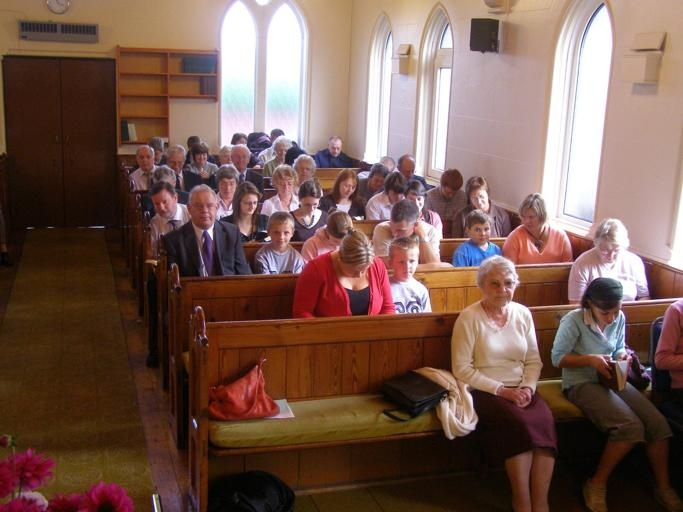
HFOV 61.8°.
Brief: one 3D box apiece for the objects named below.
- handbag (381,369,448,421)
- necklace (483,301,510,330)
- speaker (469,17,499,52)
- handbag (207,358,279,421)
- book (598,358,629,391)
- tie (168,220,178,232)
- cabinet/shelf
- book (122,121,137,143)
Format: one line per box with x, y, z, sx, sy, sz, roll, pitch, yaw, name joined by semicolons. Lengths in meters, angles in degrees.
0.447;0.852;3.506;0.396;0.181;0.313;-1;13;-1;handbag
0.977;0.371;3.592;0.119;0.173;0.086;-3;29;8;necklace
1.733;-2.678;7.113;0.430;0.485;0.346;1;12;-1;speaker
-0.561;0.812;3.266;0.403;0.372;0.237;-5;10;-31;handbag
1.675;0.723;3.580;0.170;0.237;0.183;4;-1;-22;book
-1.626;-0.292;5.454;0.093;0.149;0.041;1;-5;-2;tie
-3.016;-2.612;9.882;1.679;1.778;0.609;-4;11;-24;cabinet/shelf
-3.629;-2.105;9.694;0.113;0.372;0.362;-1;4;-10;book
